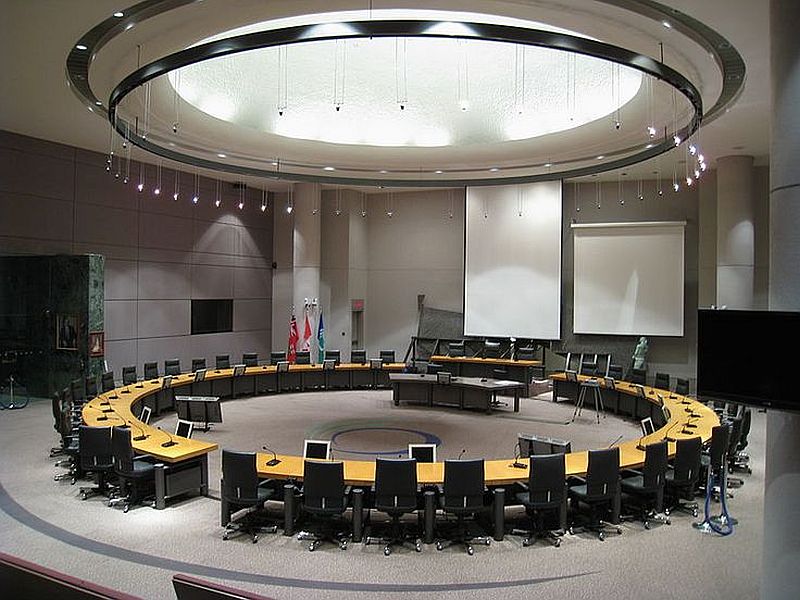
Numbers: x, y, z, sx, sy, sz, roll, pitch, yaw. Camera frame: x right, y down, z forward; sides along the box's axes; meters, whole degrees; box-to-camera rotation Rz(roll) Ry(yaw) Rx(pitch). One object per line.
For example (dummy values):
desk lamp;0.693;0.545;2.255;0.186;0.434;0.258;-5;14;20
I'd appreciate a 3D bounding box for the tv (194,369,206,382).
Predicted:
tv;-5.777;2.153;17.253;0.342;0.358;0.254;-1;22;-17

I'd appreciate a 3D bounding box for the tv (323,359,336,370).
tv;-2.361;2.160;19.790;0.292;0.245;0.324;1;0;8

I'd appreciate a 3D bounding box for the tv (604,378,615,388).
tv;5.882;2.359;16.825;0.220;0.417;0.249;8;23;38

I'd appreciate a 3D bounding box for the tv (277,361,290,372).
tv;-3.806;2.133;19.227;0.366;0.373;0.256;1;12;-7

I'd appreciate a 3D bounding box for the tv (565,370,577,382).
tv;5.241;2.314;18.242;0.275;0.310;0.529;3;-32;34

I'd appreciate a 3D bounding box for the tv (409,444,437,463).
tv;0.379;2.708;10.436;0.508;0.482;0.054;0;-10;2

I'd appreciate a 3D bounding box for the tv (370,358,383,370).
tv;-0.814;2.196;20.183;0.343;0.367;0.360;1;-2;-6

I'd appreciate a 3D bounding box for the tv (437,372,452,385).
tv;1.296;2.315;17.590;0.336;0.308;0.324;3;12;9
